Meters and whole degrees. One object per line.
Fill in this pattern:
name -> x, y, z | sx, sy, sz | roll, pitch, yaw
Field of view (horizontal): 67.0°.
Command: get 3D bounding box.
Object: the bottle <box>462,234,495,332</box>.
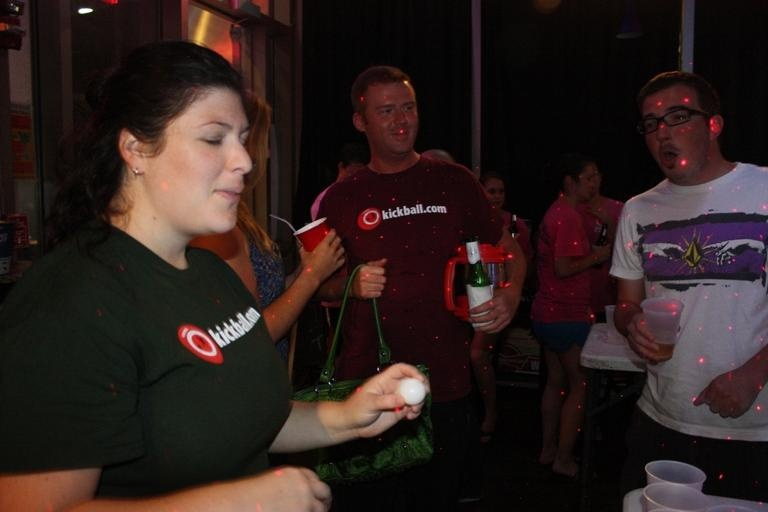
bottle -> 0.420, 0.112, 2.541 | 0.118, 0.405, 0.228 | -2, 9, 10

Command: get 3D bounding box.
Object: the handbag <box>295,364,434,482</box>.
handbag -> -0.062, 0.622, 2.110 | 0.524, 0.522, 0.227 | -12, 26, 3

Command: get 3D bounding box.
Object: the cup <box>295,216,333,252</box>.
cup -> -0.313, -0.094, 2.605 | 0.143, 0.112, 0.150 | -34, 11, 8

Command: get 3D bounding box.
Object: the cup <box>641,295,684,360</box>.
cup -> 1.132, 0.295, 2.379 | 0.142, 0.241, 0.121 | 5, 12, 40
